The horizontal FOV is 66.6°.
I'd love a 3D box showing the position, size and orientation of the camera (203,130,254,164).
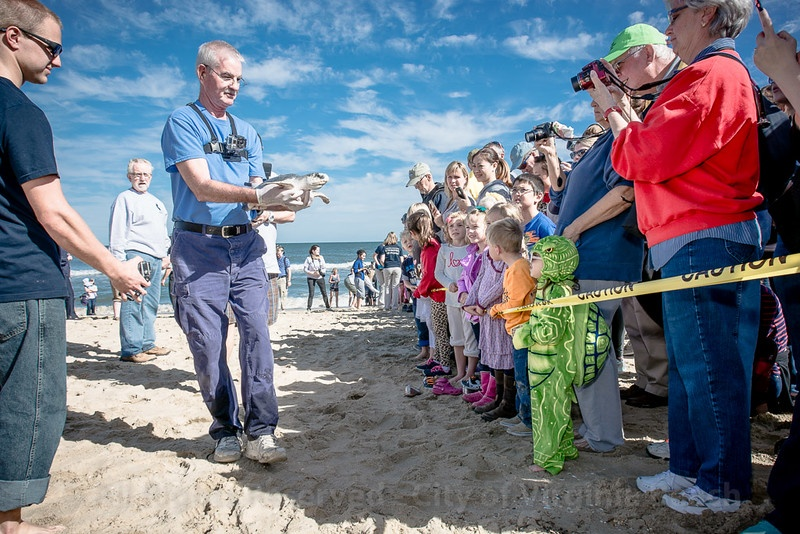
[{"bbox_3d":[-1.318,-0.949,4.671,0.272,0.117,0.208,11,12,7],"label":"camera"}]
